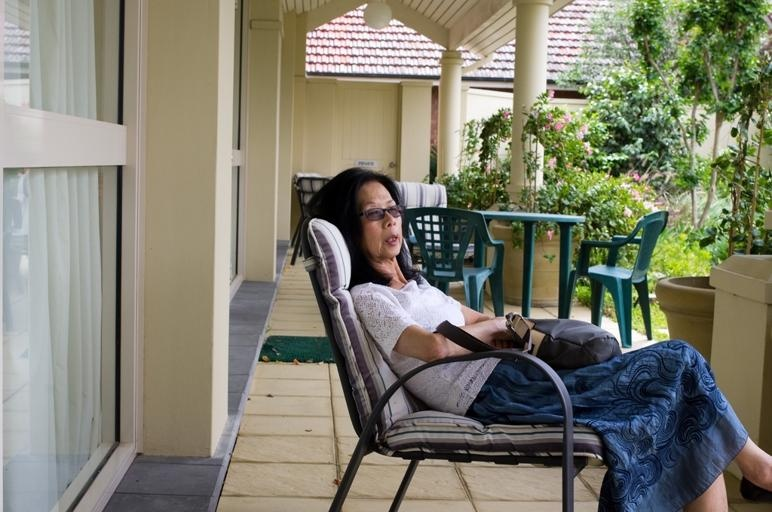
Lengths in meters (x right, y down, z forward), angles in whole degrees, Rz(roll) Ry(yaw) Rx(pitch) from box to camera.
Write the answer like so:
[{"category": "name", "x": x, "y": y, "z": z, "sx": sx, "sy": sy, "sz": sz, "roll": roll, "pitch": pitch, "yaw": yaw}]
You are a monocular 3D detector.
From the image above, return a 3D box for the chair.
[{"category": "chair", "x": 0.253, "y": 0.306, "z": 2.603, "sx": 1.103, "sy": 1.394, "sz": 0.926, "roll": -2, "pitch": -5, "yaw": 16}]

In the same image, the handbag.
[{"category": "handbag", "x": 0.656, "y": 0.312, "z": 2.308, "sx": 0.283, "sy": 0.112, "sz": 0.251, "roll": 3, "pitch": 13, "yaw": 0}]

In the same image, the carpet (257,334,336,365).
[{"category": "carpet", "x": -0.642, "y": 0.656, "z": 4.296, "sx": 0.369, "sy": 0.048, "sz": 0.416, "roll": 3, "pitch": 7, "yaw": 3}]
